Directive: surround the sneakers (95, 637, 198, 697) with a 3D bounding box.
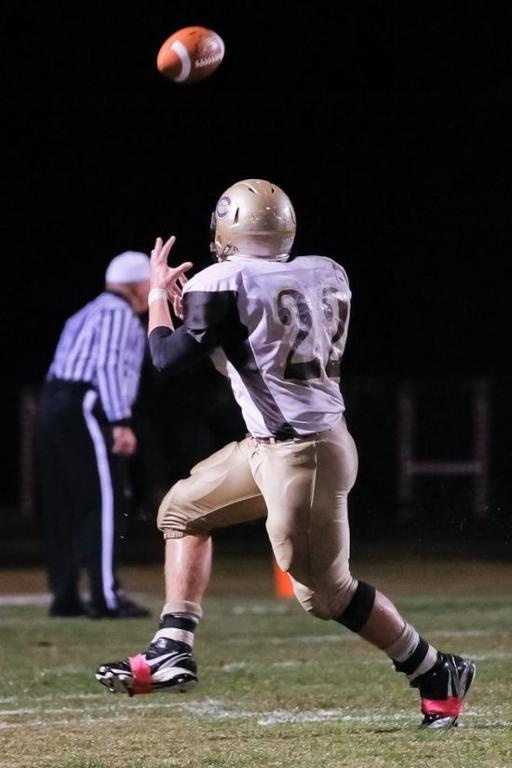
[{"bbox_3d":[-0.263,0.711,2.507,0.284,0.148,0.112,1,-11,-9],"label":"sneakers"}]

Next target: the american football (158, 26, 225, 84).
[{"bbox_3d":[-0.216,-1.077,3.223,0.208,0.226,0.172,-1,-4,-6],"label":"american football"}]

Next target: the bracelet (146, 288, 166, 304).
[{"bbox_3d":[-0.274,-0.237,2.712,0.047,0.032,0.044,1,2,2],"label":"bracelet"}]

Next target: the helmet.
[{"bbox_3d":[0.013,-0.456,2.770,0.195,0.206,0.250,-2,21,-18],"label":"helmet"}]

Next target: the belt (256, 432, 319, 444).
[{"bbox_3d":[0.071,0.137,2.524,0.163,0.022,0.045,-3,-5,29],"label":"belt"}]

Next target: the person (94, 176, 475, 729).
[{"bbox_3d":[0.050,0.170,2.646,0.951,1.498,0.428,0,-5,-10],"label":"person"}]
